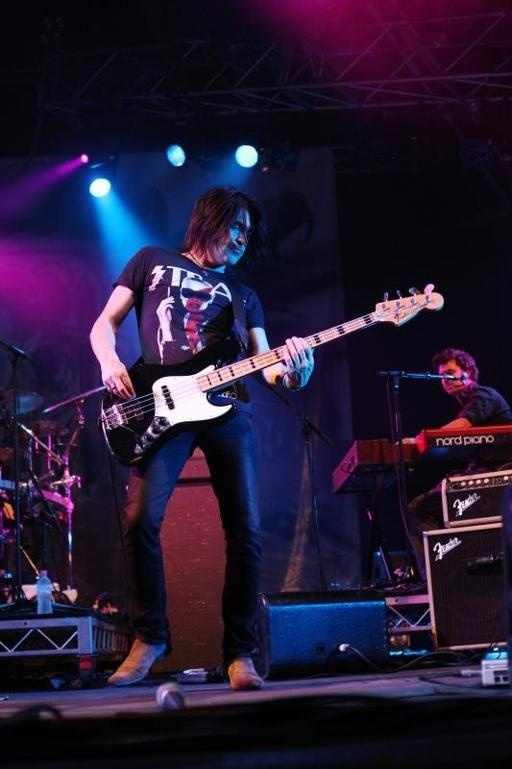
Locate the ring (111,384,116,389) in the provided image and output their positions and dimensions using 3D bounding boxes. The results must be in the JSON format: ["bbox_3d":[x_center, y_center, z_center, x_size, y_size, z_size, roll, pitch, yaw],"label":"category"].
[{"bbox_3d":[-0.430,0.006,2.381,0.007,0.017,0.026,0,-8,-40],"label":"ring"}]

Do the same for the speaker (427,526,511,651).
[{"bbox_3d":[0.814,0.785,3.057,0.284,0.444,0.224,-7,-7,17],"label":"speaker"}]

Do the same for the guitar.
[{"bbox_3d":[0.073,-0.030,2.685,1.172,0.544,0.289,0,-8,-33],"label":"guitar"}]

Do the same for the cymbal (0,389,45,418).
[{"bbox_3d":[-1.624,0.160,5.426,0.271,0.069,0.300,-32,-30,26],"label":"cymbal"}]

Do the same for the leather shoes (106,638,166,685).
[{"bbox_3d":[-0.352,0.800,2.274,0.083,0.098,0.243,-5,-9,21],"label":"leather shoes"}]

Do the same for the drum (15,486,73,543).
[{"bbox_3d":[-1.350,0.809,5.114,0.096,0.175,0.562,18,-14,31],"label":"drum"}]

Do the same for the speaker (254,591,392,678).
[{"bbox_3d":[0.314,0.857,2.693,0.453,0.256,0.256,-14,-21,33],"label":"speaker"}]
